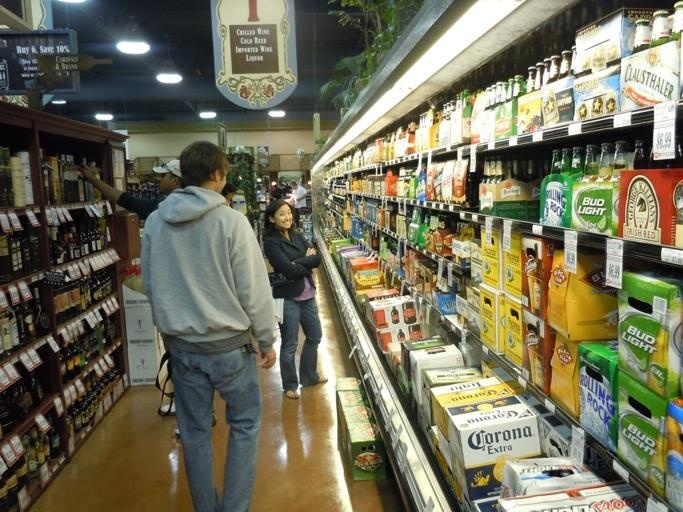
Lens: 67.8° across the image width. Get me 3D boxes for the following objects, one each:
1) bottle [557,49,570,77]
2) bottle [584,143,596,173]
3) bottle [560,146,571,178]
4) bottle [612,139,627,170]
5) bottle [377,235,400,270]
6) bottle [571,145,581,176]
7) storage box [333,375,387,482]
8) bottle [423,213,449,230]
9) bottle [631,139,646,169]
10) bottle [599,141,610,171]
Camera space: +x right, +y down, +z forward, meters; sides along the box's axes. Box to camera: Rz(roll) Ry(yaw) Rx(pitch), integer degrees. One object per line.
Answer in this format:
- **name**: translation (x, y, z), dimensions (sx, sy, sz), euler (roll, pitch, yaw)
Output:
- **bottle**: translation (0.968, -0.833, 2.202), dimensions (0.045, 0.115, 0.131), euler (4, 12, 22)
- **bottle**: translation (1.005, -0.389, 2.048), dimensions (0.047, 0.115, 0.074), euler (5, 12, 25)
- **bottle**: translation (0.953, -0.405, 2.163), dimensions (0.042, 0.104, 0.110), euler (4, 12, 23)
- **bottle**: translation (1.035, -0.377, 1.898), dimensions (0.048, 0.103, 0.049), euler (0, 10, 0)
- **bottle**: translation (0.470, -0.011, 5.001), dimensions (0.061, 0.257, 0.263), euler (-1, 13, -16)
- **bottle**: translation (0.980, -0.397, 2.115), dimensions (0.044, 0.106, 0.062), euler (4, 12, 24)
- **storage box**: translation (0.122, 1.284, 3.724), dimensions (0.292, 0.442, 1.200), euler (-4, 19, -5)
- **bottle**: translation (0.657, -0.239, 3.520), dimensions (0.046, 0.105, 0.218), euler (7, 5, -12)
- **bottle**: translation (1.084, -0.371, 1.846), dimensions (0.047, 0.099, 0.192), euler (5, 13, 29)
- **bottle**: translation (1.015, -0.380, 1.962), dimensions (0.034, 0.111, 0.048), euler (4, 11, 24)
